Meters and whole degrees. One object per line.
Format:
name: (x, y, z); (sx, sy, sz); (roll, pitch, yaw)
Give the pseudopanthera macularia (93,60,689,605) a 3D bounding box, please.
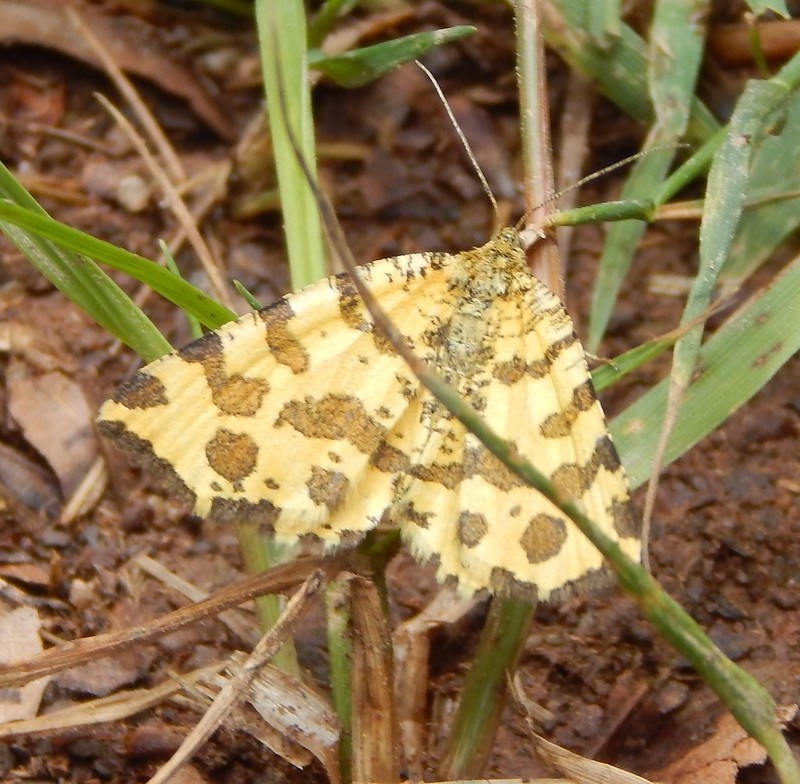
pseudopanthera macularia: (-0.007, -0.053, 1.357); (0.922, 0.113, 0.557); (14, 92, 5)
